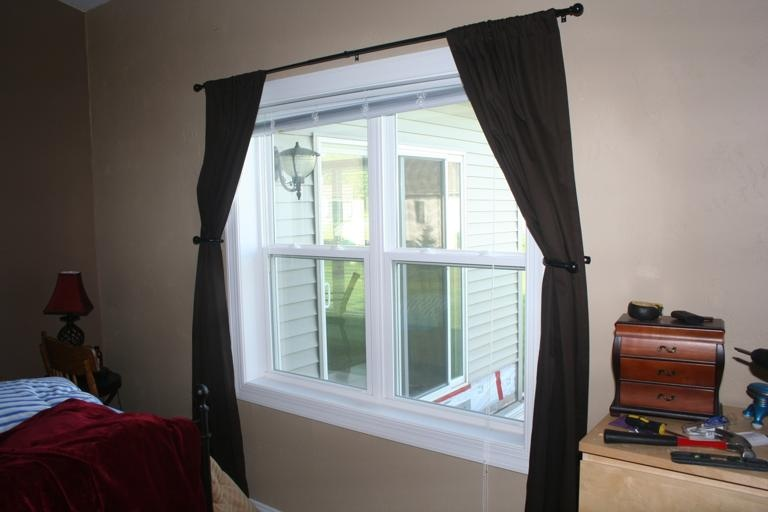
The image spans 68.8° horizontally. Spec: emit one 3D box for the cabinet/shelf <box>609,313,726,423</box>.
[{"bbox_3d":[1.251,0.489,2.503,0.440,0.446,0.282,2,12,25],"label":"cabinet/shelf"}]

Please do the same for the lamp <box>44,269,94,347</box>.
[{"bbox_3d":[-2.219,0.359,3.977,0.289,0.507,0.389,0,3,-23],"label":"lamp"}]
